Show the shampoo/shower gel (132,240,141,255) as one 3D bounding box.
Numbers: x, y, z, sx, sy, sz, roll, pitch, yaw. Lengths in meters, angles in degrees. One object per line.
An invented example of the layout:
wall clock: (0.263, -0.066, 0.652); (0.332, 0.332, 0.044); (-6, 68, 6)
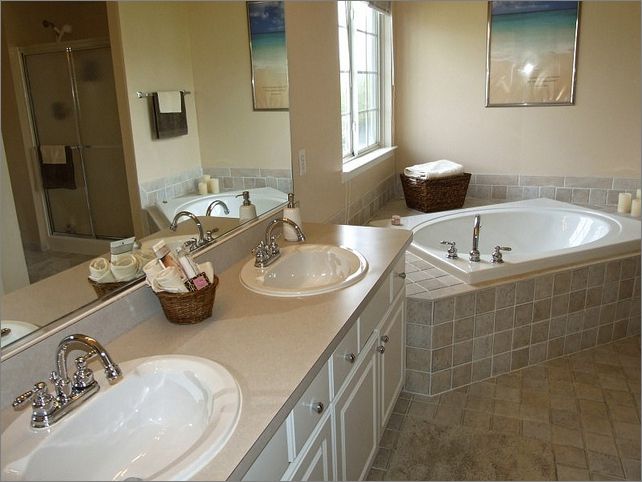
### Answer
shampoo/shower gel: (-0.624, 0.021, 1.593); (0.031, 0.046, 0.035); (13, 37, -7)

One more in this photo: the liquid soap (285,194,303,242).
liquid soap: (-0.148, -0.120, 2.311); (0.088, 0.234, 0.091); (5, 14, 22)

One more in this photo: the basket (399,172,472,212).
basket: (1.024, -0.453, 4.206); (0.476, 0.436, 0.474); (-8, 13, -26)

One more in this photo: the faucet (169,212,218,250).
faucet: (-0.511, -0.035, 1.838); (0.050, 0.147, 0.192); (11, 23, 32)

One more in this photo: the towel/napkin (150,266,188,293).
towel/napkin: (-0.507, 0.133, 1.535); (0.108, 0.088, 0.067); (-13, 19, -22)

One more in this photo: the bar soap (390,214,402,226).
bar soap: (0.602, -0.170, 3.674); (0.072, 0.064, 0.076); (11, 32, 29)

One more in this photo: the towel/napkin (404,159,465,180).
towel/napkin: (1.027, -0.641, 4.150); (0.490, 0.124, 0.288); (-9, 18, -10)

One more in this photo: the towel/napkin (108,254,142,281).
towel/napkin: (-0.657, 0.089, 1.567); (0.073, 0.079, 0.071); (27, 45, 24)

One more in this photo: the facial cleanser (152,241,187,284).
facial cleanser: (-0.514, 0.078, 1.558); (0.048, 0.200, 0.056); (-24, 20, 23)

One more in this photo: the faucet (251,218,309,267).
faucet: (-0.183, -0.028, 2.074); (0.200, 0.220, 0.254); (5, 16, 18)
